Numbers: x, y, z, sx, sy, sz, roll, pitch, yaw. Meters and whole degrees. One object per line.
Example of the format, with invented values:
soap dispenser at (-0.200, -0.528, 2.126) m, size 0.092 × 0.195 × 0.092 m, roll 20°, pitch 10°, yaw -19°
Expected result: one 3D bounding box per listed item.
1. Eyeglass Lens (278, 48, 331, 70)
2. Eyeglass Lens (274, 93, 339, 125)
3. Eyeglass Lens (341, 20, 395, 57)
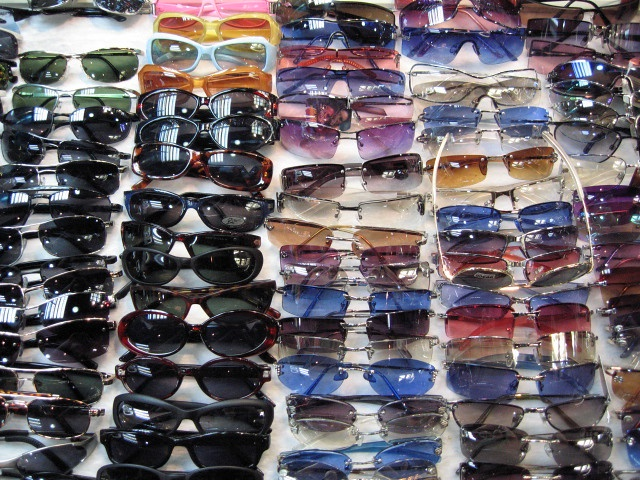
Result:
Eyeglass Lens at (-0.056, -0.550, 1.707) m, size 0.138 × 0.022 × 0.104 m, roll 0°, pitch -2°, yaw -5°
Eyeglass Lens at (-0.039, -0.377, 1.630) m, size 0.153 × 0.026 × 0.117 m, roll 1°, pitch -6°, yaw -2°
Eyeglass Lens at (0.147, -0.638, 1.787) m, size 0.153 × 0.033 × 0.119 m, roll 3°, pitch 10°, yaw -2°
